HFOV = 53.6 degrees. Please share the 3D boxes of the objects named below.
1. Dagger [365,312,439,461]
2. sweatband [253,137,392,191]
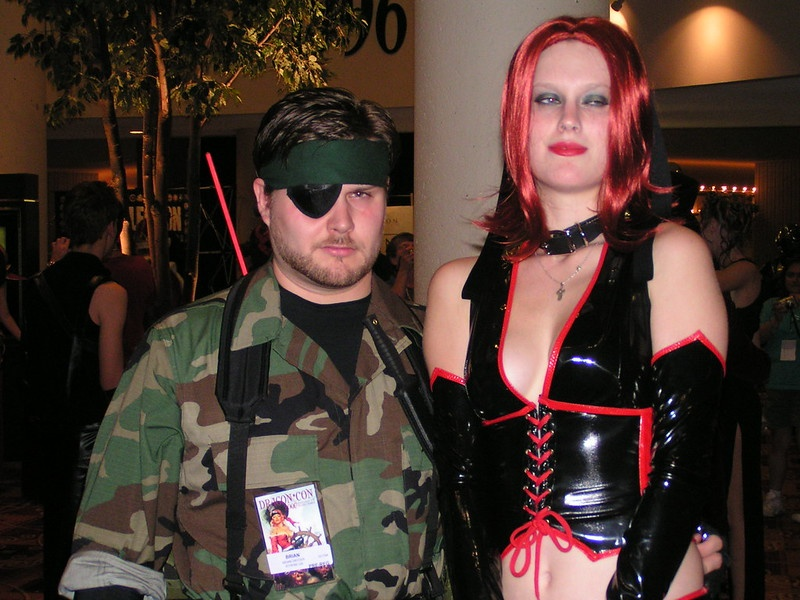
[{"bbox_3d":[0.010,0.255,2.490,0.165,0.486,0.039,-19,-17,-12],"label":"Dagger"},{"bbox_3d":[-0.232,-0.414,2.411,0.300,0.166,0.298,7,11,34],"label":"sweatband"}]
